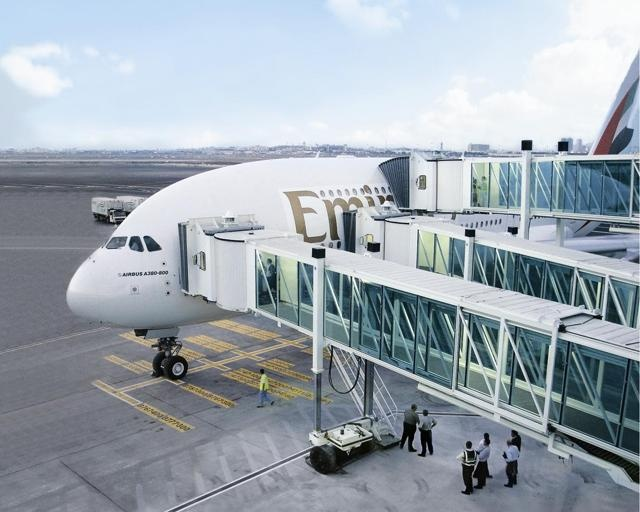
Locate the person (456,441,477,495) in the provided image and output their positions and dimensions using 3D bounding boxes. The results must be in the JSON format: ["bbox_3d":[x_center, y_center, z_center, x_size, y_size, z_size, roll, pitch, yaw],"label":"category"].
[{"bbox_3d":[5.661,8.024,24.890,0.662,2.255,0.862,4,18,17],"label":"person"}]

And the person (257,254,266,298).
[{"bbox_3d":[-2.690,0.917,29.176,0.410,2.072,0.676,-9,19,-24],"label":"person"}]

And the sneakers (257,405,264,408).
[{"bbox_3d":[-2.952,7.408,31.956,0.320,0.147,0.212,-1,14,0],"label":"sneakers"}]

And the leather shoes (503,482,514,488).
[{"bbox_3d":[7.403,9.011,25.332,0.428,0.220,0.133,6,6,28],"label":"leather shoes"}]

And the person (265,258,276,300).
[{"bbox_3d":[-2.149,1.007,28.670,0.358,1.851,0.854,-7,17,-18],"label":"person"}]

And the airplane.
[{"bbox_3d":[1.072,-2.537,35.186,25.221,8.043,18.198,-8,10,-35],"label":"airplane"}]

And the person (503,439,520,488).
[{"bbox_3d":[7.493,8.203,25.405,0.579,1.691,0.836,4,17,16],"label":"person"}]

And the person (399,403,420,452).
[{"bbox_3d":[3.856,7.302,27.979,0.781,2.346,1.145,1,17,7],"label":"person"}]

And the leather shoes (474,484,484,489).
[{"bbox_3d":[6.171,9.050,25.257,0.361,0.185,0.112,3,3,29],"label":"leather shoes"}]
